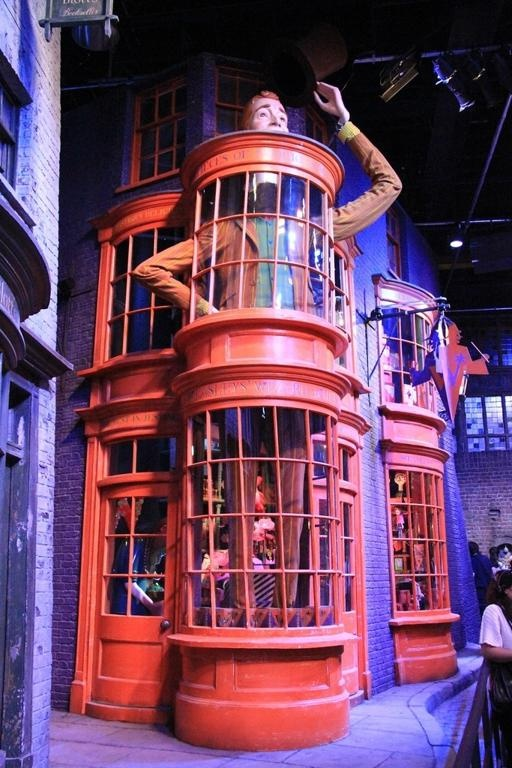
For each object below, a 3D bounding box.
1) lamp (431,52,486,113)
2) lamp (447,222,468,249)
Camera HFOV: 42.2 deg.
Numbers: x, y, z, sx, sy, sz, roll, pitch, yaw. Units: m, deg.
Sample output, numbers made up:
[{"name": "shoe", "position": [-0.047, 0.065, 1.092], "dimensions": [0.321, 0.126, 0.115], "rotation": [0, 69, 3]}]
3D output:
[{"name": "lamp", "position": [2.216, -3.251, 7.281], "dimensions": [0.542, 0.864, 0.335], "rotation": [5, -55, -4]}, {"name": "lamp", "position": [3.719, -2.779, 12.326], "dimensions": [0.265, 0.746, 0.350], "rotation": [8, -27, 7]}]
